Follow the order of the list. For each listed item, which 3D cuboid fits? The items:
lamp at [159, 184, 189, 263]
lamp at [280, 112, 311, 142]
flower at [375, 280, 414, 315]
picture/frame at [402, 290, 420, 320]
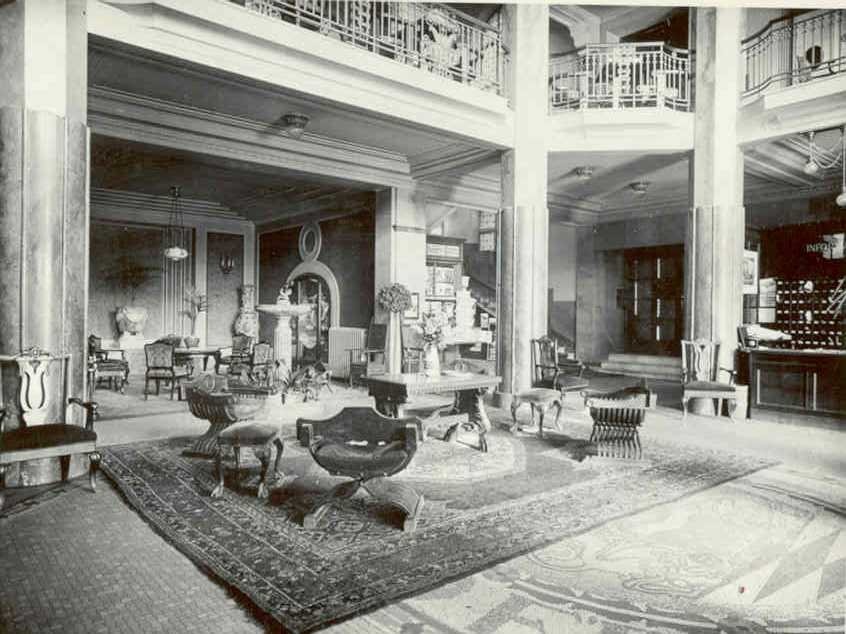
[{"bbox_3d":[-4.972,-1.860,13.851,0.539,1.472,2.261,0,-1,-20],"label":"lamp"},{"bbox_3d":[-1.858,-2.782,9.989,0.346,0.245,0.332,1,-1,-14],"label":"lamp"},{"bbox_3d":[-0.505,-0.338,11.917,0.606,0.582,0.441,0,0,-1],"label":"flower"},{"bbox_3d":[-0.237,-0.205,12.013,0.070,0.574,0.486,-4,-6,41],"label":"picture/frame"}]
